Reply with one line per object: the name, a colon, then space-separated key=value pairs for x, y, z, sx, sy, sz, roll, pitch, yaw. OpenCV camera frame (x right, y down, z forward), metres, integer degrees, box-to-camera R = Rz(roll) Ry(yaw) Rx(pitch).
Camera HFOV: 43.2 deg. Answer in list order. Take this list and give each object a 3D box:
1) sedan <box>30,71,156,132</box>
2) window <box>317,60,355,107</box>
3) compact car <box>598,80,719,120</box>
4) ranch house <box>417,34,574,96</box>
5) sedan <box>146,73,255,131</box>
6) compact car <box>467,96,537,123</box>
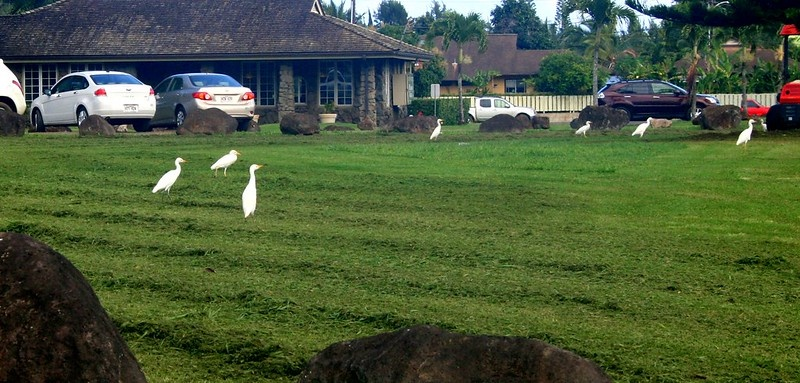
sedan: x=-16.037 y=-4.827 z=52.819 sx=5.829 sy=2.179 sz=3.043 roll=5 pitch=7 yaw=32
window: x=-4.054 y=-7.120 z=65.364 sx=3.257 sy=3.615 sz=0.259 roll=1 pitch=5 yaw=8
compact car: x=16.572 y=-5.848 z=65.723 sx=7.299 sy=2.474 sz=2.953 roll=-1 pitch=9 yaw=2
ranch house: x=8.962 y=-10.893 z=90.764 sx=10.881 sy=3.617 sz=6.047 roll=-1 pitch=10 yaw=-1
sedan: x=-10.711 y=-4.864 z=54.355 sx=5.421 sy=2.961 sz=1.919 roll=3 pitch=10 yaw=9
compact car: x=7.155 y=-5.547 z=69.540 sx=2.981 sy=1.751 sz=4.609 roll=-4 pitch=11 yaw=-32
